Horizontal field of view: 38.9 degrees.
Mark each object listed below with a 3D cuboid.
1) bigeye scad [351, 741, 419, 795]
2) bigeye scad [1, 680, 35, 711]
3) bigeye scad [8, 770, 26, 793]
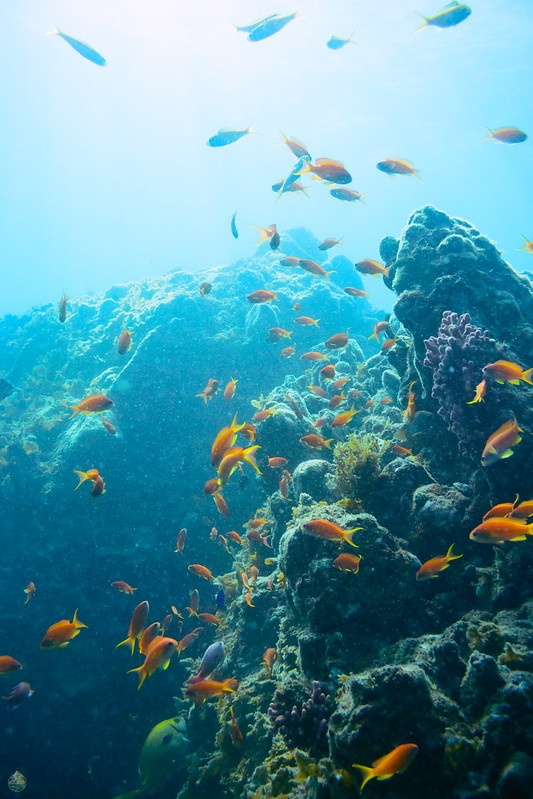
[{"bbox_3d":[1.506,4.688,9.349,0.783,0.569,0.511,-11,-11,-1],"label":"bigeye scad"},{"bbox_3d":[-4.031,4.947,12.308,0.387,0.375,0.477,-5,-13,-28],"label":"bigeye scad"},{"bbox_3d":[-5.416,8.571,16.418,0.353,0.400,0.482,-9,-12,-13],"label":"bigeye scad"}]
